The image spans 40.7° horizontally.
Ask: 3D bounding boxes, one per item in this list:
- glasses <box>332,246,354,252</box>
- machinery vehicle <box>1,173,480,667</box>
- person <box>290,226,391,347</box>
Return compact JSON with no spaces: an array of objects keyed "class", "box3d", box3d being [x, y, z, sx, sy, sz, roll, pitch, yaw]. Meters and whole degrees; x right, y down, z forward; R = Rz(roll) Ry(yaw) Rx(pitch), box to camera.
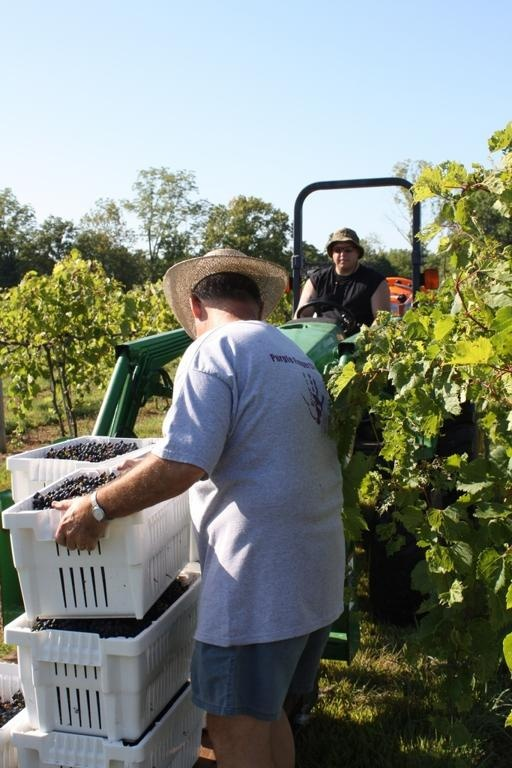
[{"class":"glasses","box3d":[0.598,-0.927,4.708,0.066,0.021,0.067,1,-14,17]},{"class":"machinery vehicle","box3d":[0.181,-0.081,3.928,1.670,1.906,3.276,3,6,37]},{"class":"person","box3d":[0.573,-0.568,4.776,0.670,1.018,0.576,6,9,19]}]
